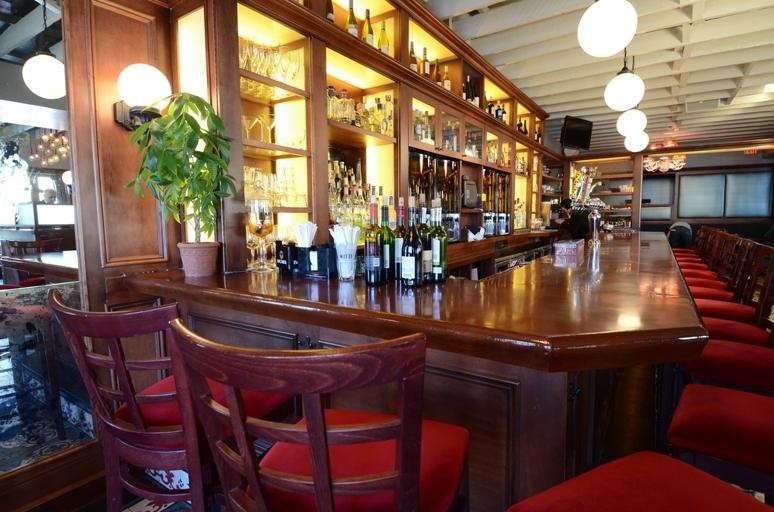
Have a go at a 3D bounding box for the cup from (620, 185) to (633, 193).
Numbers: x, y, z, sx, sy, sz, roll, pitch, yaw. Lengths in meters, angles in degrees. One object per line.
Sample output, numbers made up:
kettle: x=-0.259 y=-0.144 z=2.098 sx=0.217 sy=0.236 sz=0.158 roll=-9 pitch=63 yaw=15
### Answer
cup: x=4.704 y=-1.293 z=10.645 sx=0.213 sy=0.123 sz=0.331 roll=-4 pitch=7 yaw=-13

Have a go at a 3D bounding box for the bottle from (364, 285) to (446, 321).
bottle: x=0.085 y=0.253 z=2.951 sx=0.429 sy=0.091 sz=0.479 roll=-1 pitch=6 yaw=6

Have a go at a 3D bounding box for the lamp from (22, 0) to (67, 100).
lamp: x=-2.250 y=-1.207 z=3.531 sx=0.226 sy=0.376 sz=0.108 roll=-6 pitch=8 yaw=-32

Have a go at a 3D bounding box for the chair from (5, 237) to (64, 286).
chair: x=-2.399 y=-0.005 z=3.725 sx=0.341 sy=0.419 sz=0.299 roll=3 pitch=9 yaw=41

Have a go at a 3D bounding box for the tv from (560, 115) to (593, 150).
tv: x=3.050 y=-2.005 z=8.733 sx=0.549 sy=0.474 sz=0.281 roll=-4 pitch=12 yaw=-34

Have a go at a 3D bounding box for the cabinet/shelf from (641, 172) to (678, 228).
cabinet/shelf: x=6.510 y=-1.319 z=13.081 sx=0.339 sy=1.279 sz=0.786 roll=-8 pitch=8 yaw=-41

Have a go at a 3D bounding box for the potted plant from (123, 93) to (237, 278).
potted plant: x=-1.367 y=-0.471 z=3.638 sx=0.679 sy=1.208 sz=0.471 roll=-4 pitch=7 yaw=-13

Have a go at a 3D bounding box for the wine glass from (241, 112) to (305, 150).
wine glass: x=-0.856 y=-0.930 z=4.069 sx=0.367 sy=0.135 sz=0.108 roll=0 pitch=-3 yaw=-36

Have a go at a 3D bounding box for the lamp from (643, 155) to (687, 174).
lamp: x=6.058 y=-2.008 z=11.795 sx=0.772 sy=0.293 sz=0.751 roll=-3 pitch=4 yaw=-20

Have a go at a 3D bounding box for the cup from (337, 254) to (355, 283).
cup: x=-0.254 y=0.070 z=3.375 sx=0.140 sy=0.161 sz=0.142 roll=-1 pitch=-4 yaw=0
